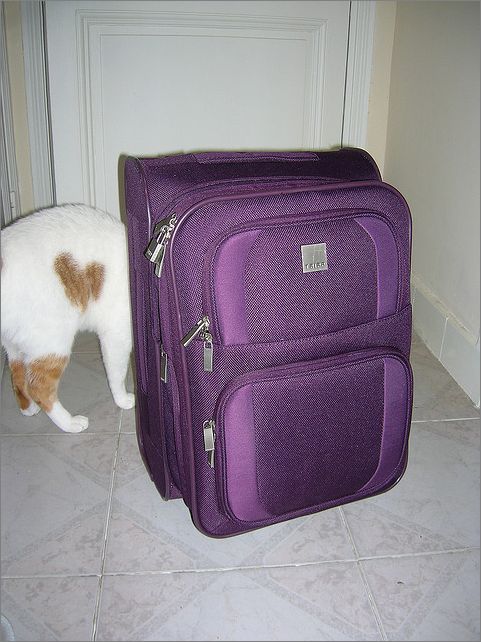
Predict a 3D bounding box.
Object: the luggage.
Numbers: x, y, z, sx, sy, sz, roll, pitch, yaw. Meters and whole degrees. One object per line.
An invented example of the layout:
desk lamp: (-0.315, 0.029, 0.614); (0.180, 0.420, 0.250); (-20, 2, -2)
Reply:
luggage: (0.057, 0.024, 0.781); (0.365, 0.530, 0.283); (-9, 24, -17)
